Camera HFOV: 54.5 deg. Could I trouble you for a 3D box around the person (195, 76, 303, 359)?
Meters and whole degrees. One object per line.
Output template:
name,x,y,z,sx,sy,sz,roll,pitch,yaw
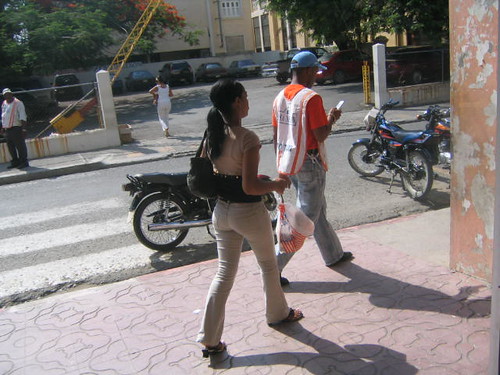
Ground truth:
person,-0.099,0.270,4.328,1.024,2.407,0.540,-8,16,-11

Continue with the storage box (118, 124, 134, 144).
storage box,-3.996,-1.694,15.567,0.305,0.255,0.799,-12,26,-4

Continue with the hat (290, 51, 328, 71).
hat,0.652,-1.361,5.206,0.386,0.184,0.236,-15,24,-33

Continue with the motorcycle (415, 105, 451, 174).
motorcycle,3.150,-0.834,8.288,0.484,1.105,1.302,1,16,19

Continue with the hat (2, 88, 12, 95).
hat,-6.309,-2.499,12.602,0.180,0.123,1.057,-11,17,-23

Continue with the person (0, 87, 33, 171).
person,-6.157,-1.530,12.673,0.881,2.048,0.485,5,19,33

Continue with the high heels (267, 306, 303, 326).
high heels,0.324,1.259,4.760,0.376,0.127,0.147,-15,30,-13

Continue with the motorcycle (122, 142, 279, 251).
motorcycle,-0.833,0.172,7.279,1.938,1.166,1.071,-8,8,-19
